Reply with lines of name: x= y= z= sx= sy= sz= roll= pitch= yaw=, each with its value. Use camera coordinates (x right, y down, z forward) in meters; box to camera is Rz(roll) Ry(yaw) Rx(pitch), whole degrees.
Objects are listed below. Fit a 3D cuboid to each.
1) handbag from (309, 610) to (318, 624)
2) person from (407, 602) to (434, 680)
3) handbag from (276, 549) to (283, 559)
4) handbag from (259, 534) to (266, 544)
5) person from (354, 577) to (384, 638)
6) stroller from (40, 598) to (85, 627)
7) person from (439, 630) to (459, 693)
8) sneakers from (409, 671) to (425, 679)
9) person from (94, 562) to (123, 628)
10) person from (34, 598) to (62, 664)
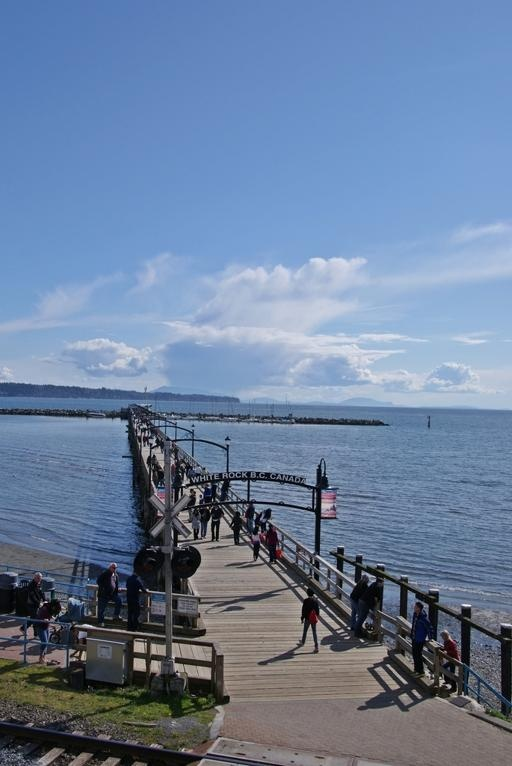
handbag: x=1.161 y=4.856 z=13.525 sx=0.153 sy=0.275 sz=0.275 roll=1 pitch=-1 yaw=-5
person: x=3.111 y=4.889 z=12.466 sx=0.380 sy=1.328 sz=1.060 roll=0 pitch=-1 yaw=13
handbag: x=0.801 y=5.889 z=22.575 sx=0.225 sy=0.239 sz=0.387 roll=3 pitch=-10 yaw=1
handbag: x=0.289 y=6.072 z=25.590 sx=0.105 sy=0.393 sz=0.519 roll=0 pitch=-1 yaw=11
person: x=2.472 y=4.935 z=14.464 sx=0.495 sy=1.331 sz=0.733 roll=1 pitch=-1 yaw=-28
stroller: x=-4.240 y=5.053 z=14.746 sx=1.034 sy=0.469 sz=0.693 roll=2 pitch=-2 yaw=-1
person: x=3.572 y=5.148 z=12.146 sx=0.295 sy=1.112 sz=1.568 roll=0 pitch=-1 yaw=16
sneakers: x=2.920 y=5.349 z=11.991 sx=0.094 sy=0.102 sz=0.235 roll=9 pitch=-6 yaw=-41
person: x=-3.377 y=4.763 z=15.081 sx=0.525 sy=1.521 sz=1.175 roll=1 pitch=-1 yaw=-10
person: x=-4.285 y=5.067 z=13.508 sx=0.511 sy=0.748 sz=2.120 roll=1 pitch=-1 yaw=-18
